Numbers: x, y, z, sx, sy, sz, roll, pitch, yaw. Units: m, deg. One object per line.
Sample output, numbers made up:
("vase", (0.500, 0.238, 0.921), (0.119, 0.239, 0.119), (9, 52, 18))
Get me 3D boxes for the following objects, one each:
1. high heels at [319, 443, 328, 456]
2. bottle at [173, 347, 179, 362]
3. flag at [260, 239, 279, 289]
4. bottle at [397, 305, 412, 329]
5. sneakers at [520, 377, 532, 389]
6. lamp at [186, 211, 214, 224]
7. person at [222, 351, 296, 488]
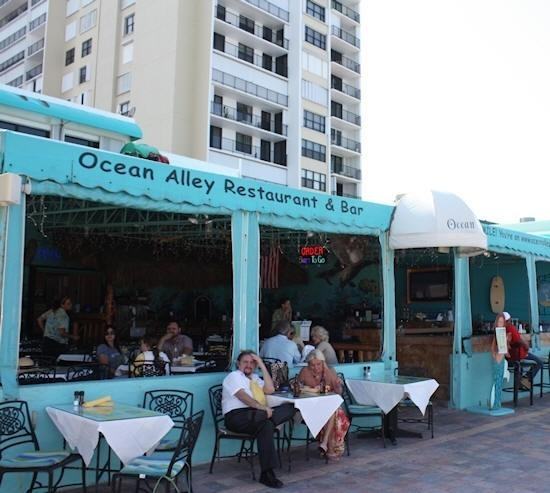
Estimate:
("high heels", (0.592, 2.483, 6.713), (0.074, 0.165, 0.063), (-6, -9, 39))
("bottle", (-1.617, 1.767, 9.039), (0.032, 0.131, 0.135), (1, -10, 16))
("flag", (-0.120, 0.518, 14.681), (0.547, 1.141, 1.711), (-3, -7, 0))
("bottle", (3.315, 1.812, 14.116), (0.352, 0.707, 0.353), (0, -4, 0))
("sneakers", (5.116, 2.832, 11.336), (0.249, 0.152, 0.418), (0, -4, 24))
("lamp", (-1.469, -0.543, 11.071), (0.357, 0.249, 0.479), (-3, -4, 11))
("person", (-0.153, 1.846, 6.099), (0.732, 1.358, 0.853), (1, -8, -29))
